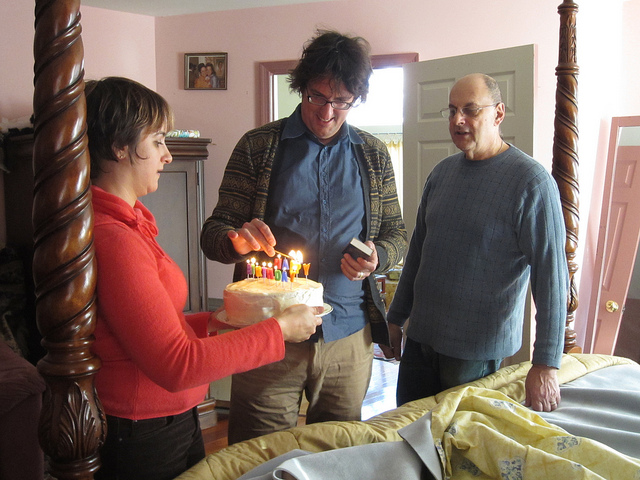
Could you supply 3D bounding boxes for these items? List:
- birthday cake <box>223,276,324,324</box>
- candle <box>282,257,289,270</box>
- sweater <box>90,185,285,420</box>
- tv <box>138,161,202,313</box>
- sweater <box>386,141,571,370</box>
[{"bbox_3d":[-0.186,0.246,2.164,0.434,0.156,0.451,-2,0,27],"label":"birthday cake"},{"bbox_3d":[-0.138,0.093,2.084,0.026,0.049,0.026,-12,23,-22],"label":"candle"},{"bbox_3d":[-0.407,0.195,1.610,0.541,0.717,0.319,-2,11,-6],"label":"sweater"},{"bbox_3d":[-1.219,0.005,4.618,0.460,1.573,0.486,1,-5,-43],"label":"tv"},{"bbox_3d":[0.711,0.086,2.535,0.391,0.982,0.966,3,4,-38],"label":"sweater"}]
